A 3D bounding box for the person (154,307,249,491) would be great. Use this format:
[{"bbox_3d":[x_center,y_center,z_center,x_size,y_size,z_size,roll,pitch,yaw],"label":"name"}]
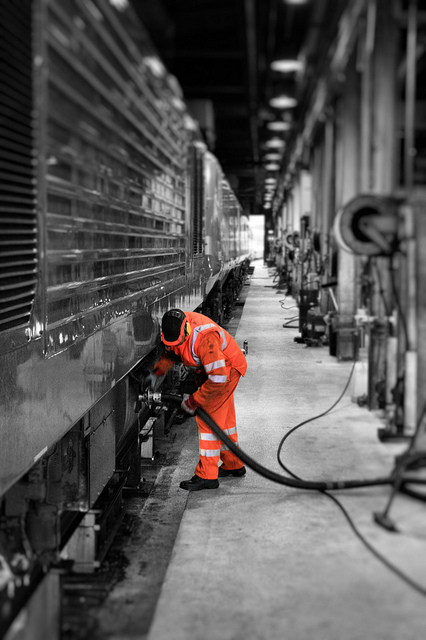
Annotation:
[{"bbox_3d":[-0.084,0.560,3.747,0.726,1.445,0.514,-14,17,-35],"label":"person"}]
